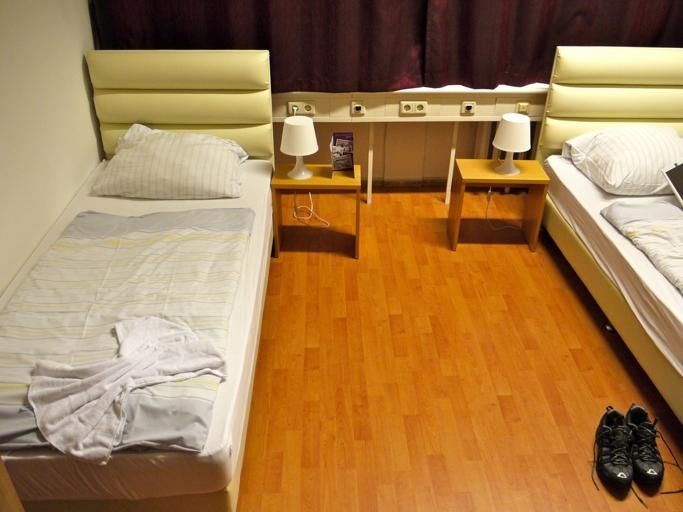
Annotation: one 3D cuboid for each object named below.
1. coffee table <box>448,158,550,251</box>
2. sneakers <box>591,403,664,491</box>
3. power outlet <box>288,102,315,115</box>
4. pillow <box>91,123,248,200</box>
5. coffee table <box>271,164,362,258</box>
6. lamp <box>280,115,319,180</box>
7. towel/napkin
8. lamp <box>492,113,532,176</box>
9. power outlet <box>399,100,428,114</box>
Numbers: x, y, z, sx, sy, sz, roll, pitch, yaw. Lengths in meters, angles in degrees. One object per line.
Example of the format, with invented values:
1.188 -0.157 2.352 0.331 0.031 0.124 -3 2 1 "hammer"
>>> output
1.146 -0.363 3.497 0.639 0.582 0.428 1 44 3 "coffee table"
1.302 0.871 2.214 0.242 0.152 0.380 1 43 11 "sneakers"
-0.290 -1.074 3.549 0.169 0.086 0.038 1 3 -3 "power outlet"
-1.081 -0.567 3.057 0.712 0.210 0.519 3 56 -3 "pillow"
-0.172 -0.339 3.365 0.604 0.555 0.432 1 35 2 "coffee table"
-0.280 -0.728 3.197 0.227 0.374 0.282 -3 35 -4 "lamp"
-0.842 0.515 1.850 0.549 0.112 0.503 7 36 -13 "towel/napkin"
1.140 -0.755 3.243 0.223 0.355 0.287 9 36 13 "lamp"
0.527 -1.083 3.527 0.198 0.099 0.028 -1 35 -2 "power outlet"
